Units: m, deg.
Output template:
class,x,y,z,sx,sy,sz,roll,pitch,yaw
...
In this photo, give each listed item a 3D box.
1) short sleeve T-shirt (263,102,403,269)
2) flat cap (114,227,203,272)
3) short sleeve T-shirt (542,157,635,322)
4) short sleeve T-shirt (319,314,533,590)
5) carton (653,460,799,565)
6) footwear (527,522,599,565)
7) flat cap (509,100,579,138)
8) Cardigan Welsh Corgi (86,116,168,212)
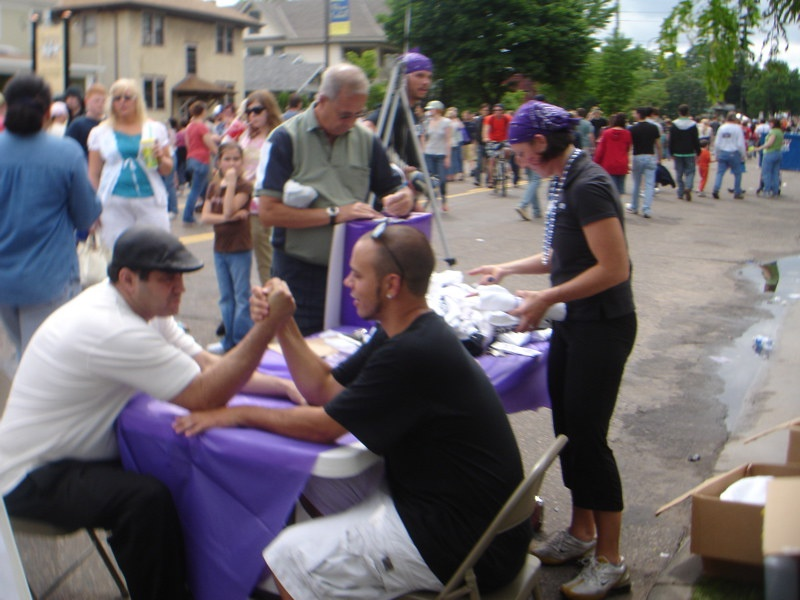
class,x,y,z,sx,sy,sz,roll,pitch,yaw
short sleeve T-shirt,-0.383,-0.632,4.001,0.898,0.908,0.459,2,6,-14
flat cap,-0.961,-0.189,2.672,0.272,0.142,0.197,-1,8,-16
short sleeve T-shirt,0.887,-0.288,3.128,0.432,0.771,0.309,5,8,15
short sleeve T-shirt,0.162,0.527,2.839,0.884,1.153,0.762,-1,5,12
carton,1.502,1.018,3.098,0.405,0.274,0.573,0,5,35
footwear,0.825,1.252,3.519,0.365,0.169,0.148,-2,-3,-8
flat cap,0.666,-0.826,3.194,0.347,0.219,0.246,-1,7,5
Cardigan Welsh Corgi,-2.241,-1.103,5.631,0.423,0.391,0.272,-36,31,-19
